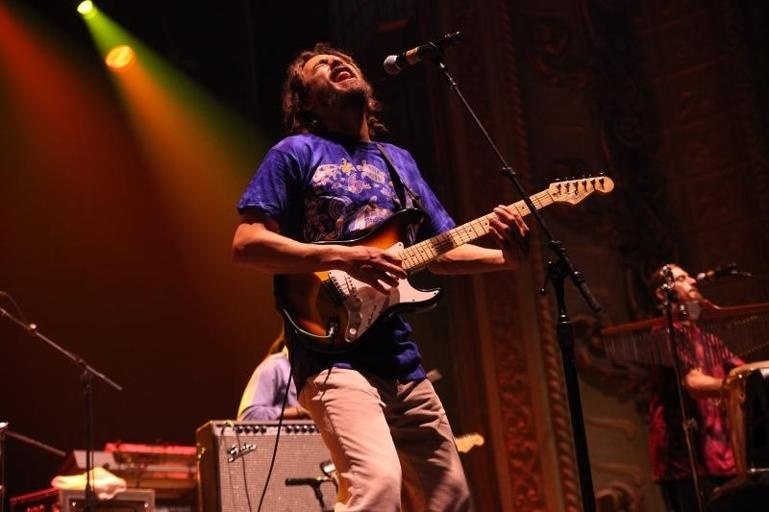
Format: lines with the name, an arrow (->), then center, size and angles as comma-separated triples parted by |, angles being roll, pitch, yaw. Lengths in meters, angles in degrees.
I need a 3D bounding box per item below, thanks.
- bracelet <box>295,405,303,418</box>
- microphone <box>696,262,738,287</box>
bracelet -> -0.705, 1.285, 6.679 | 0.059, 0.128, 0.031 | 5, -6, -23
microphone -> 2.789, 0.160, 6.665 | 0.280, 0.082, 0.112 | -23, -39, 40
